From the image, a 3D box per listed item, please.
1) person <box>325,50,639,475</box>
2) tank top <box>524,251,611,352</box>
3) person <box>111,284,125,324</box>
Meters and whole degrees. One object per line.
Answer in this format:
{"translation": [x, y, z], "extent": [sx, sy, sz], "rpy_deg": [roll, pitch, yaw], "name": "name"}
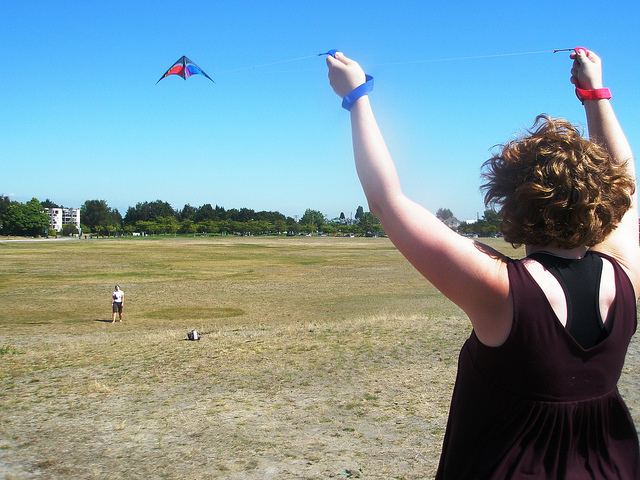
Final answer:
{"translation": [1.012, 0.195, 2.809], "extent": [1.569, 2.131, 0.420], "rpy_deg": [0, 0, -4], "name": "person"}
{"translation": [1.225, 0.325, 2.696], "extent": [0.471, 0.546, 0.303], "rpy_deg": [-1, -3, -7], "name": "tank top"}
{"translation": [-8.095, 2.519, 21.663], "extent": [0.364, 1.327, 1.867], "rpy_deg": [0, 1, -20], "name": "person"}
